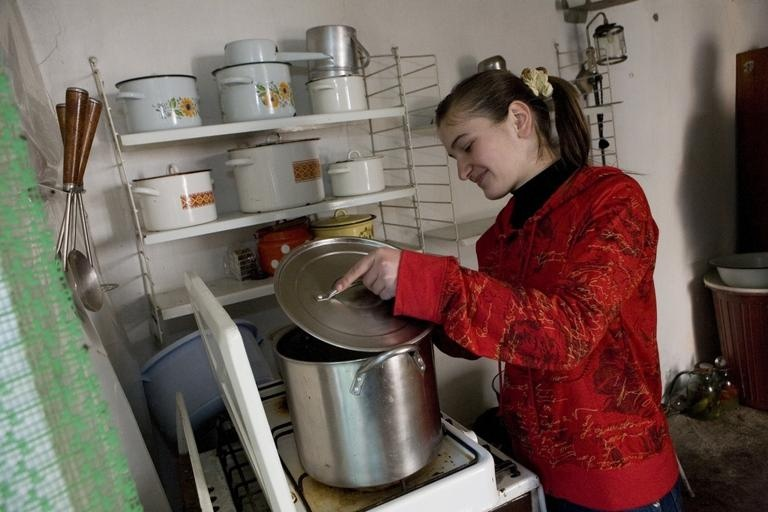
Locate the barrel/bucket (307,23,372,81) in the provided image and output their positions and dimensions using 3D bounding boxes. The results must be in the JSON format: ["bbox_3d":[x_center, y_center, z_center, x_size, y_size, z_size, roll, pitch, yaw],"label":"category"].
[{"bbox_3d":[-0.150,-0.676,1.927,0.217,0.168,0.170,-2,6,-1],"label":"barrel/bucket"}]

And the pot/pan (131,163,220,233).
[{"bbox_3d":[-0.621,-0.176,1.736,0.209,0.151,0.215,-13,12,-6],"label":"pot/pan"}]

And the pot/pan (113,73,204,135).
[{"bbox_3d":[-0.659,-0.445,1.658,0.221,0.155,0.078,-12,14,-22],"label":"pot/pan"}]

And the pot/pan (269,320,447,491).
[{"bbox_3d":[-0.064,0.338,1.260,0.349,0.312,0.145,-4,13,12],"label":"pot/pan"}]

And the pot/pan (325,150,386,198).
[{"bbox_3d":[-0.095,-0.286,1.998,0.170,0.173,0.151,16,16,43],"label":"pot/pan"}]

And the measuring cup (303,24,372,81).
[{"bbox_3d":[-0.163,-0.677,1.950,0.224,0.198,0.213,3,18,-1],"label":"measuring cup"}]

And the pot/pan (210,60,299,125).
[{"bbox_3d":[-0.399,-0.500,1.744,0.227,0.167,0.113,-10,13,-13],"label":"pot/pan"}]

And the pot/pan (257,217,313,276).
[{"bbox_3d":[-0.329,-0.041,1.971,0.235,0.209,0.198,-13,10,-27],"label":"pot/pan"}]

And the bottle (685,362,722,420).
[{"bbox_3d":[1.700,0.708,2.995,0.194,0.265,0.148,-17,16,-39],"label":"bottle"}]

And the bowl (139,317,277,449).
[{"bbox_3d":[-0.576,0.396,1.618,0.206,0.353,0.098,-9,13,-10],"label":"bowl"}]

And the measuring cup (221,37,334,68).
[{"bbox_3d":[-0.339,-0.621,1.754,0.233,0.059,0.142,-3,11,-12],"label":"measuring cup"}]

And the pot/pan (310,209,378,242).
[{"bbox_3d":[-0.132,-0.097,1.844,0.202,0.107,0.190,-10,17,-41],"label":"pot/pan"}]
